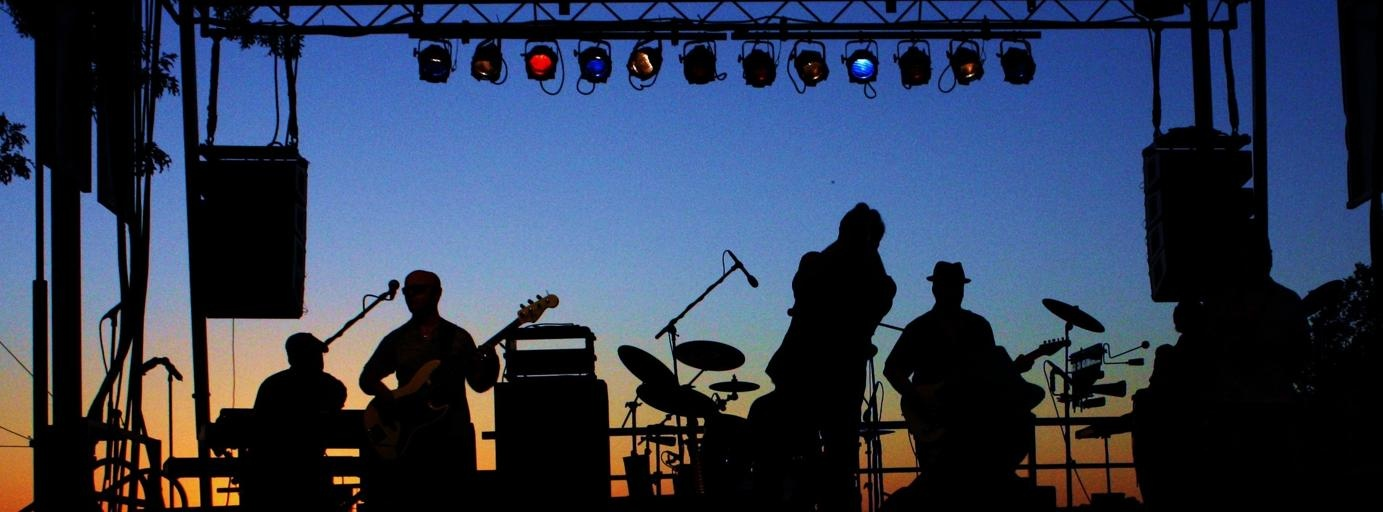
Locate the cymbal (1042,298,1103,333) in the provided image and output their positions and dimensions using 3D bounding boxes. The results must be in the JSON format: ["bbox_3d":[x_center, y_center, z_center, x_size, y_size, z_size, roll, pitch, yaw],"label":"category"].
[{"bbox_3d":[5.888,0.874,25.197,0.808,0.512,0.838,1,-5,-25],"label":"cymbal"}]

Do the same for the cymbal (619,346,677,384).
[{"bbox_3d":[-0.689,1.608,24.331,0.938,0.579,0.515,-2,-5,7],"label":"cymbal"}]
